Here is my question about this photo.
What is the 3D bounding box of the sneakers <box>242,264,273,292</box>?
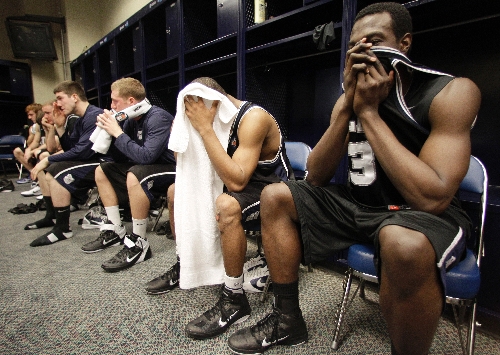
[{"bbox_3d":[0.046,0.734,2.539,0.278,0.136,0.101,-7,23,-10],"label":"sneakers"}]

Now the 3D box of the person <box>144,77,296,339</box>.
[{"bbox_3d":[-0.128,0.122,2.511,0.899,1.579,0.904,-3,3,-25],"label":"person"}]

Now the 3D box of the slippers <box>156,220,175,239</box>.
[{"bbox_3d":[-0.819,0.488,3.358,0.150,0.139,0.438,1,-2,5],"label":"slippers"}]

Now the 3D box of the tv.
[{"bbox_3d":[-4.678,-2.955,7.555,0.958,1.021,0.405,-6,13,-3],"label":"tv"}]
